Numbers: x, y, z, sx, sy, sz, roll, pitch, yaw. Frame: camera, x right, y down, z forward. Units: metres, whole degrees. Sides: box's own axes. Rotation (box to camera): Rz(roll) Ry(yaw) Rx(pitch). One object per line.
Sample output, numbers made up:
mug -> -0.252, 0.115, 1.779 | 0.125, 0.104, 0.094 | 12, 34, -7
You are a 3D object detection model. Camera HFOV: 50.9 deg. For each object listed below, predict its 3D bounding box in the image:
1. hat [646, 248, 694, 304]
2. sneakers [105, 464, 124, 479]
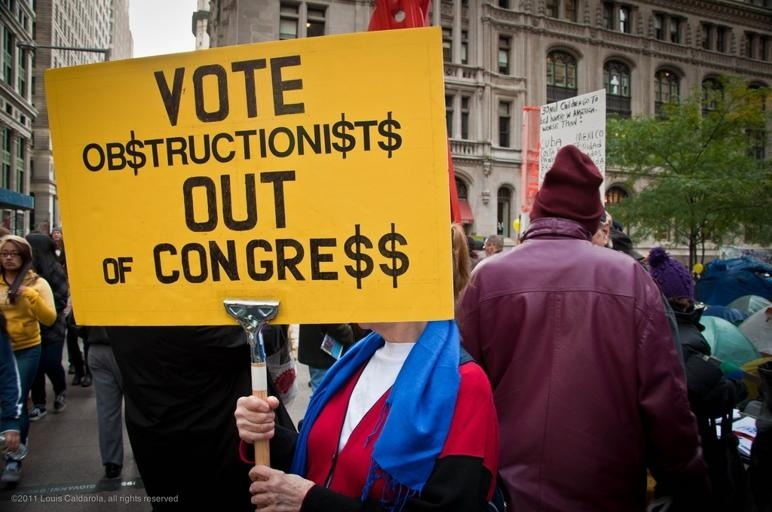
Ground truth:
hat -> 3.279, 0.218, 9.294 | 0.465, 0.646, 0.961 | -2, 0, 19
sneakers -> -3.325, 2.647, 9.833 | 0.189, 0.150, 0.139 | -2, 0, -27
